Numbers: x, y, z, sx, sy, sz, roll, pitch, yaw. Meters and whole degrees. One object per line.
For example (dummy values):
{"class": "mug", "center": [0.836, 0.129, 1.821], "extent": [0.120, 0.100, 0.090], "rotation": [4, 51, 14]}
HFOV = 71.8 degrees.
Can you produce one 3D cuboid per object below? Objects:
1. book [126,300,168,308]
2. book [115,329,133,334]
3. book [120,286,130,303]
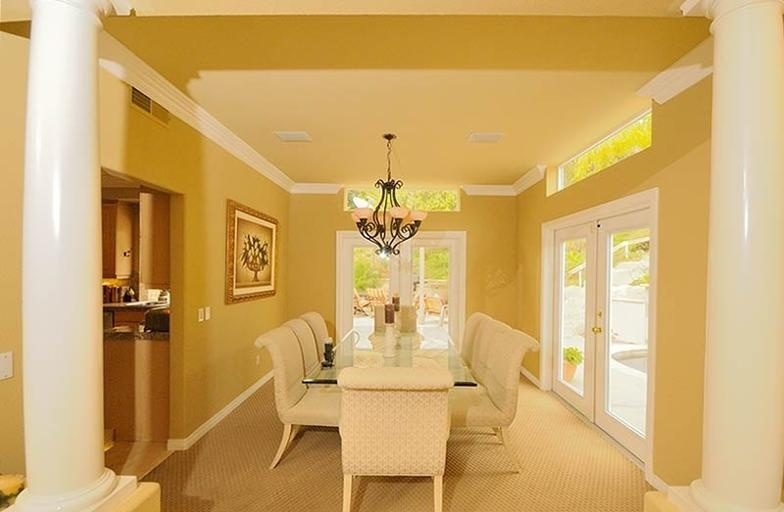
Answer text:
{"class": "book", "center": [-3.236, 0.628, 7.063], "extent": [0.517, 0.111, 0.816], "rotation": [2, -6, -26]}
{"class": "book", "center": [-2.472, 0.683, 4.956], "extent": [0.089, 0.021, 0.081], "rotation": [1, 2, -18]}
{"class": "book", "center": [-3.628, 0.515, 7.349], "extent": [0.083, 0.205, 0.259], "rotation": [2, -6, -28]}
